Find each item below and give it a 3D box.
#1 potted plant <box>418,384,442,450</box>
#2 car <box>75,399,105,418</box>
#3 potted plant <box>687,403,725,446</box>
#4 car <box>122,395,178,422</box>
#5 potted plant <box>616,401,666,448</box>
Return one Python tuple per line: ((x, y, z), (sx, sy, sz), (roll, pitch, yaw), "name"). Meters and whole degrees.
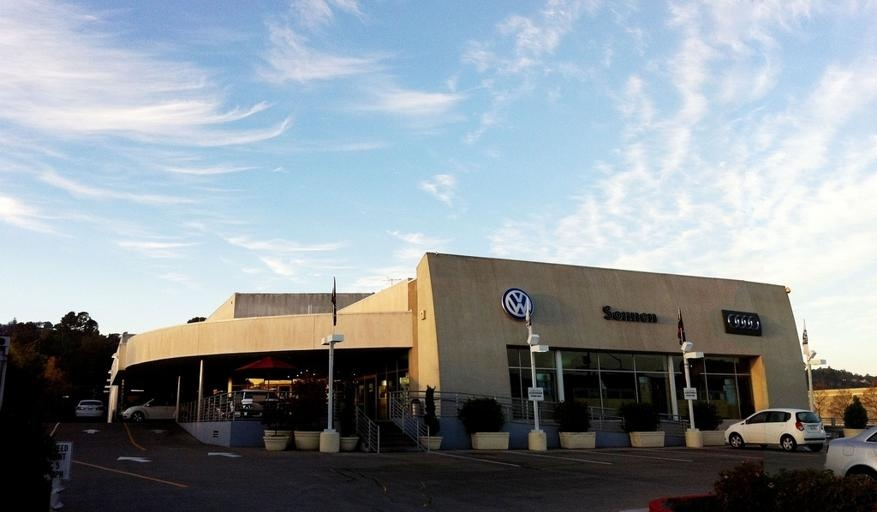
((-0.530, 8.883, 31.882), (1.130, 3.278, 1.274), (-8, -20, 14), "potted plant")
((-29.896, 13.049, 49.934), (1.911, 1.478, 2.714), (8, -20, -31), "car")
((16.509, 10.529, 36.262), (2.765, 2.553, 1.855), (9, -13, -35), "potted plant")
((-24.413, 13.218, 49.486), (4.268, 1.463, 1.706), (-5, -18, 11), "car")
((11.992, 10.326, 35.873), (3.338, 3.018, 2.541), (8, -18, -27), "potted plant")
